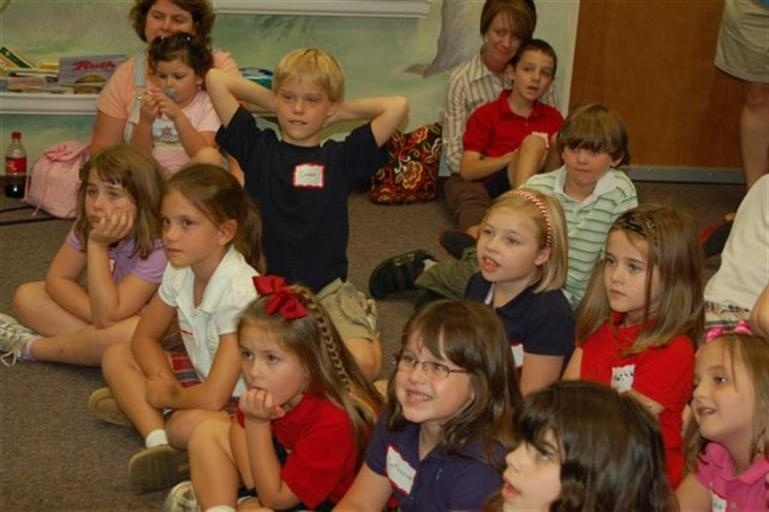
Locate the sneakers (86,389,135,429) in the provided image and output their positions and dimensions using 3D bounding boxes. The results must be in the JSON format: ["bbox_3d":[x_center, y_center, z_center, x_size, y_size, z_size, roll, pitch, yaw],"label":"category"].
[{"bbox_3d":[-1.045,0.584,2.678,0.171,0.067,0.125,32,32,-3],"label":"sneakers"}]

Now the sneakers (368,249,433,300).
[{"bbox_3d":[0.094,0.079,3.443,0.380,0.161,0.171,-25,19,-15],"label":"sneakers"}]

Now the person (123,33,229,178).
[{"bbox_3d":[-1.095,-0.722,3.560,0.602,0.803,0.492,10,21,9],"label":"person"}]
